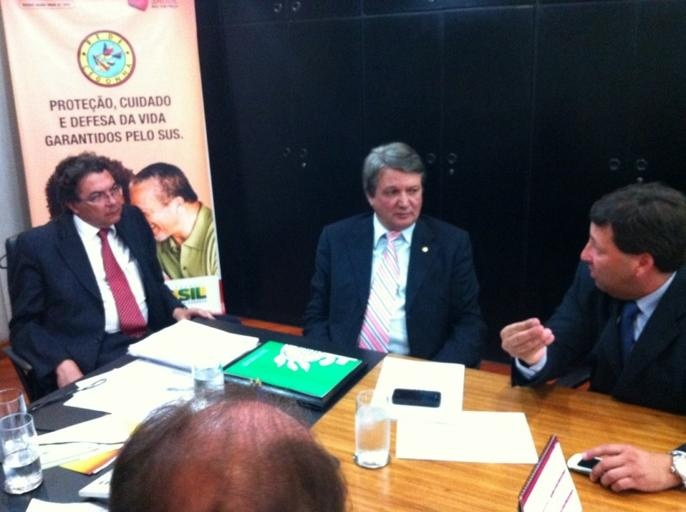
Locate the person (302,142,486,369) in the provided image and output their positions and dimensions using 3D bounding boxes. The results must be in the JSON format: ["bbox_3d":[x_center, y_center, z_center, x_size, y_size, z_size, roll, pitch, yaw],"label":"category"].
[{"bbox_3d":[0.247,-0.022,2.992,0.928,1.377,0.989,0,3,-1],"label":"person"}]

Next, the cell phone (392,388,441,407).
[{"bbox_3d":[0.260,0.505,2.051,0.121,0.026,0.069,3,11,19],"label":"cell phone"}]

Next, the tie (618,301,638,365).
[{"bbox_3d":[1.094,0.287,2.232,0.051,0.256,0.071,19,-12,-29],"label":"tie"}]

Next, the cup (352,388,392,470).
[{"bbox_3d":[0.093,0.539,1.823,0.115,0.203,0.154,0,15,5],"label":"cup"}]

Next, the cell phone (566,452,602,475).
[{"bbox_3d":[0.728,0.633,1.753,0.081,0.017,0.048,5,40,41],"label":"cell phone"}]

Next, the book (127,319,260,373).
[{"bbox_3d":[-0.605,0.364,2.365,0.259,0.041,0.248,14,22,27],"label":"book"}]
